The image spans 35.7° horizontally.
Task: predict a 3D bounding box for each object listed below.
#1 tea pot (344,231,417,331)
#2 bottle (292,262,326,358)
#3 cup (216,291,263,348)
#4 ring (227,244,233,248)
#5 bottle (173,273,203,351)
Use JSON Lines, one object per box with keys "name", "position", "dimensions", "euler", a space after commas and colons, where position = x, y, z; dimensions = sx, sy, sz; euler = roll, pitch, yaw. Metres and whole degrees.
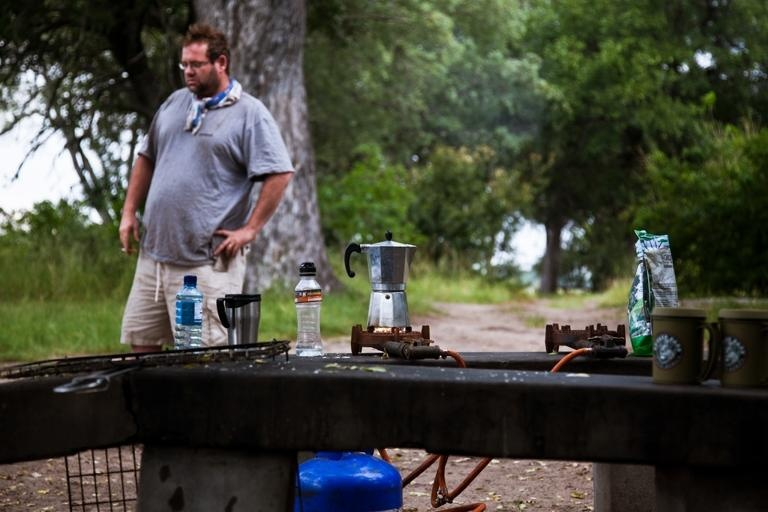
{"name": "tea pot", "position": [-0.037, 0.199, 10.789], "dimensions": [0.589, 0.878, 0.366], "euler": [-2, 6, -9]}
{"name": "bottle", "position": [-0.664, 0.465, 10.610], "dimensions": [0.230, 0.820, 0.358], "euler": [-1, -1, -4]}
{"name": "cup", "position": [-1.230, 0.529, 10.418], "dimensions": [0.327, 0.580, 0.267], "euler": [-3, 14, -5]}
{"name": "ring", "position": [-1.397, -0.097, 10.929], "dimensions": [0.035, 0.045, 0.026], "euler": [10, 4, 10]}
{"name": "bottle", "position": [-1.717, 0.481, 10.555], "dimensions": [0.241, 0.629, 0.359], "euler": [-1, -1, -8]}
